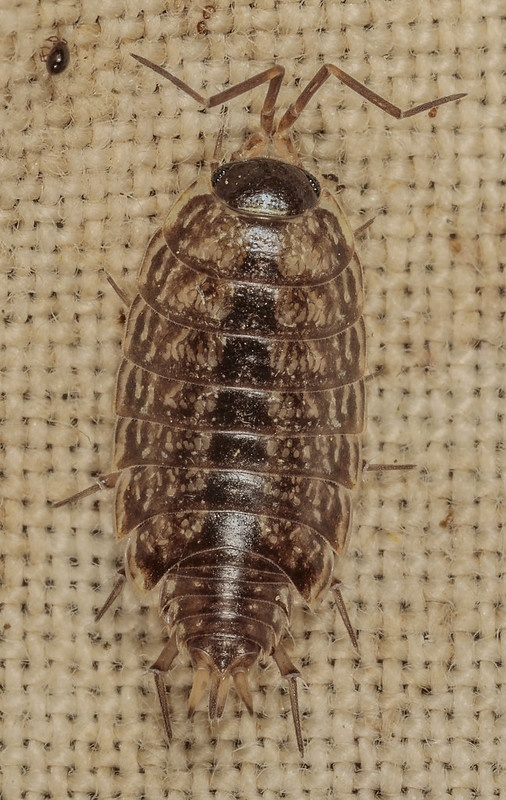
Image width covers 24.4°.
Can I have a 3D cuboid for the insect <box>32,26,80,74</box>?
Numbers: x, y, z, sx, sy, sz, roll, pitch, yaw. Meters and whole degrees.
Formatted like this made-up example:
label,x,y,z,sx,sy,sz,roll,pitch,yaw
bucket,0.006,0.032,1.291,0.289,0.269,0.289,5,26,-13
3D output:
label,x,y,z,sx,sy,sz,roll,pitch,yaw
insect,-0.436,-0.755,2.545,0.028,0.093,0.074,17,61,-39
